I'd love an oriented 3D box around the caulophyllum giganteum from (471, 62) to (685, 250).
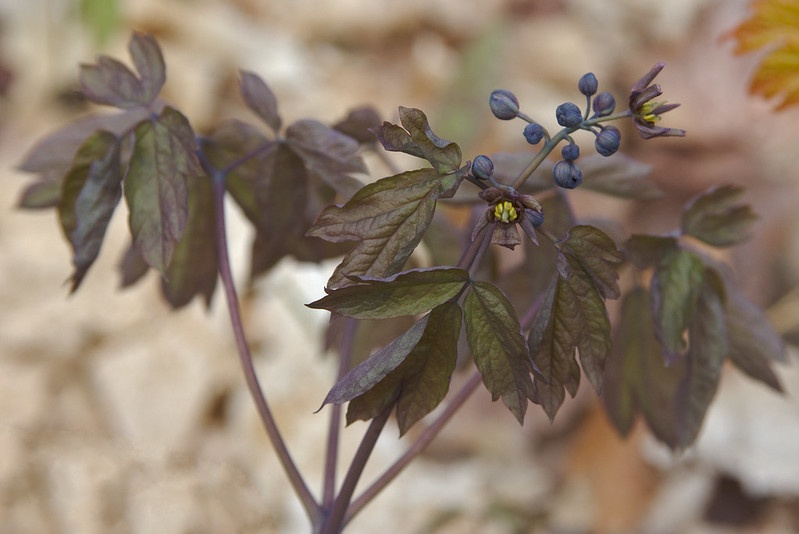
[{"bbox_3d":[0.161,-0.089,1.090,0.175,0.174,0.159,1,-28,14],"label":"caulophyllum giganteum"}]
